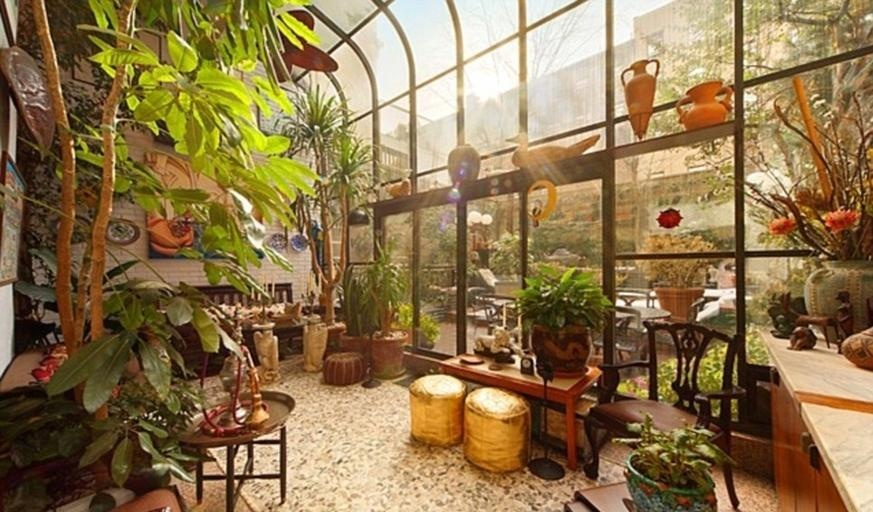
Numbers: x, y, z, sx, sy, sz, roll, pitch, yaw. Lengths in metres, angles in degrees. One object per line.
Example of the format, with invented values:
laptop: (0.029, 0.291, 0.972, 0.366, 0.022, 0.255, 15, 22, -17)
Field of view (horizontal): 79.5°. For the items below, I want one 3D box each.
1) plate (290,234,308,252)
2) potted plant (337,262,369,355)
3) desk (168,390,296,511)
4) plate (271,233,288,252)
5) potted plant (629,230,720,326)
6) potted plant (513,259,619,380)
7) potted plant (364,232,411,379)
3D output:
plate: (-2.290, -0.219, 8.722, 0.090, 0.300, 0.307, -2, -2, 37)
potted plant: (-1.089, 0.682, 6.936, 0.328, 1.150, 0.712, 3, -4, -19)
desk: (-1.752, 1.700, 4.695, 0.864, 1.010, 1.036, 3, -4, -16)
plate: (-2.519, -0.235, 8.388, 0.098, 0.314, 0.299, -2, -7, 40)
potted plant: (2.383, 0.276, 5.513, 0.909, 0.967, 0.769, -1, -8, 11)
potted plant: (1.238, 0.671, 5.292, 1.068, 1.018, 0.984, 2, -4, -8)
potted plant: (-0.616, 0.732, 6.817, 0.462, 1.667, 0.747, 0, -4, 30)
